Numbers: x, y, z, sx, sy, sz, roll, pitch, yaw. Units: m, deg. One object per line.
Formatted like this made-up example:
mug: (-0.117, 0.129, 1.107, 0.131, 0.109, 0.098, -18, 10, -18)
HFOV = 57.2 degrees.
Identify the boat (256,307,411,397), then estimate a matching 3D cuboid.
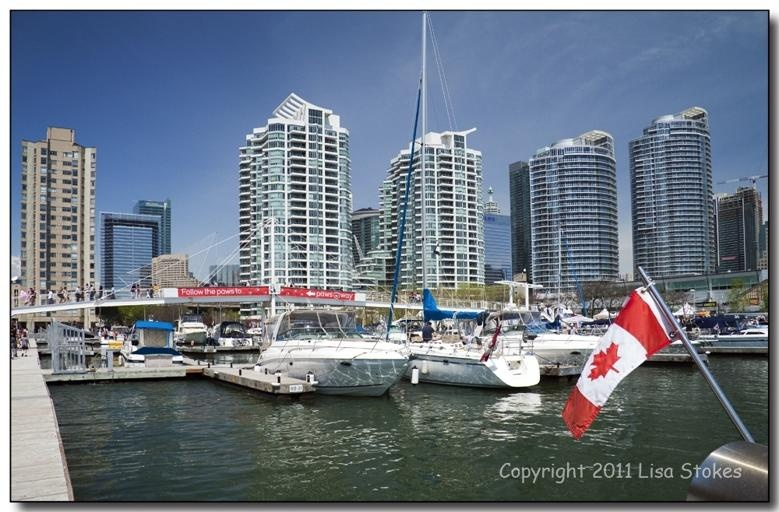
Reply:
boat: (-2.856, 4.615, 34.465, 7.169, 2.827, 3.264, -1, -6, 39)

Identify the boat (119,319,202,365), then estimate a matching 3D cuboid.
boat: (-15.018, 5.225, 44.753, 2.382, 2.000, 4.234, 4, -1, -31)
